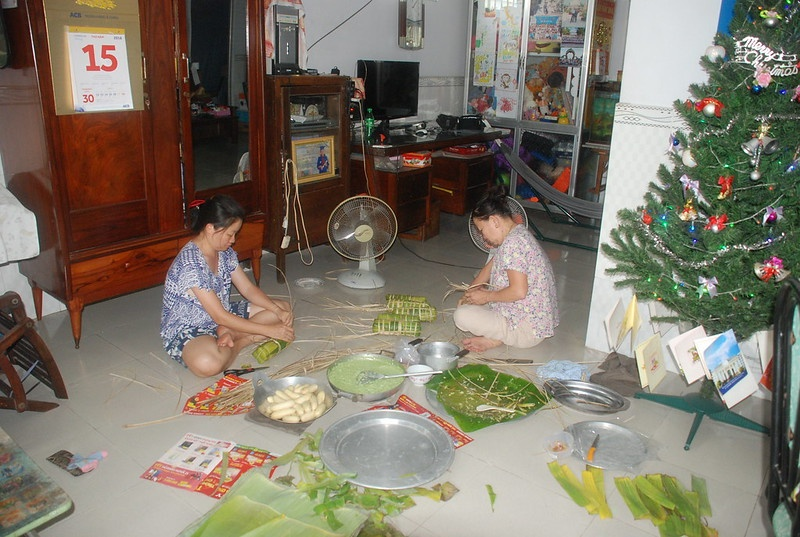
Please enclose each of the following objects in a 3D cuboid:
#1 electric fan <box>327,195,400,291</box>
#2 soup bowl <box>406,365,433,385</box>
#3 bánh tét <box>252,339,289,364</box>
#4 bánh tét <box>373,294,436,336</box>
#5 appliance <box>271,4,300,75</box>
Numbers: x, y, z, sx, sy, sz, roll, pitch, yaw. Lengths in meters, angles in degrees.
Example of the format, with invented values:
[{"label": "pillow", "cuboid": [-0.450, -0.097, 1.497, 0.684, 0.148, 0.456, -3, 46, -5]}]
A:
[{"label": "electric fan", "cuboid": [-0.316, -0.230, 4.358, 0.543, 0.827, 0.232, -4, 26, -8]}, {"label": "soup bowl", "cuboid": [0.128, 0.641, 3.208, 0.122, 0.063, 0.121, 1, 28, -1]}, {"label": "bánh tét", "cuboid": [-0.859, 0.532, 3.471, 0.115, 0.084, 0.237, 24, 34, 28]}, {"label": "bánh tét", "cuboid": [0.040, 0.349, 3.913, 0.443, 0.143, 0.432, 3, 26, 7]}, {"label": "appliance", "cuboid": [-0.942, -1.882, 4.283, 0.244, 0.500, 0.293, -5, 26, -9]}]
